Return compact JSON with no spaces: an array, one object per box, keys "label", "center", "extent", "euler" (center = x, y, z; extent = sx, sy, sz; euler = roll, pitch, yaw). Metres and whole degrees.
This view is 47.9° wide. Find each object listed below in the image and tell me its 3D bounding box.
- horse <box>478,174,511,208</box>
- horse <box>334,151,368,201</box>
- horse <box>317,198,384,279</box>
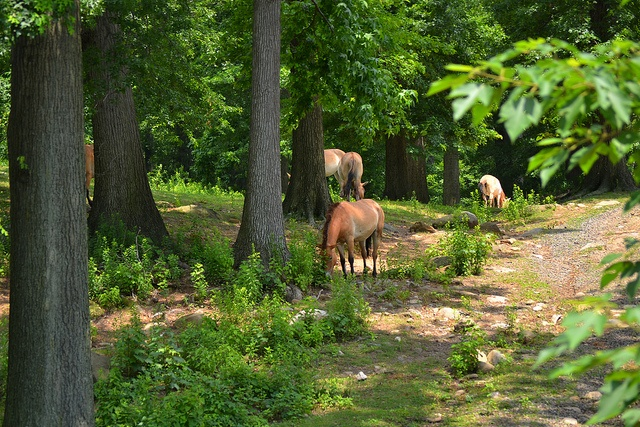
[{"label":"horse","center":[7.564,-0.958,31.742],"extent":[0.930,1.390,2.362],"euler":[1,3,14]},{"label":"horse","center":[1.284,-1.674,28.714],"extent":[0.848,2.122,3.241],"euler":[6,9,4]},{"label":"horse","center":[0.883,0.647,18.483],"extent":[0.828,1.961,1.954],"euler":[3,3,36]}]
